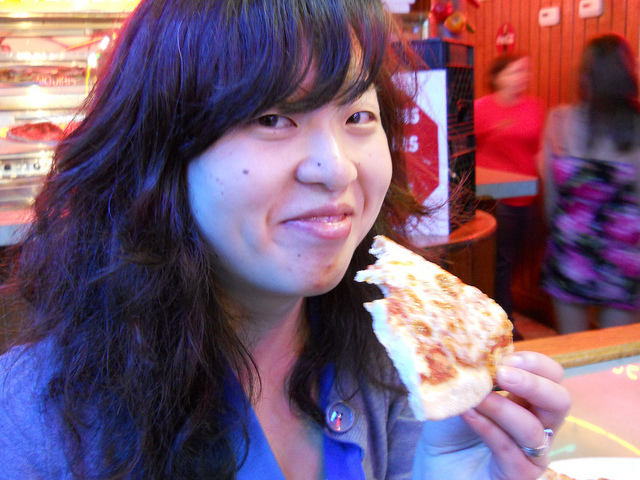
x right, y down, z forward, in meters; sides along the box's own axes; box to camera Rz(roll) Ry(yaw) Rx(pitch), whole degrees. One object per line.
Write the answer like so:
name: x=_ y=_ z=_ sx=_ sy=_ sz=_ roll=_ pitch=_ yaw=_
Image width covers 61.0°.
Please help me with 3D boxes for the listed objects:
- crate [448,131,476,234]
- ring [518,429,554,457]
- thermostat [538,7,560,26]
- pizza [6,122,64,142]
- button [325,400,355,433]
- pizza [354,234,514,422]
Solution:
crate: x=0.647 y=-0.274 z=2.485 sx=0.108 sy=0.493 sz=0.135 roll=5 pitch=13 yaw=21
ring: x=0.477 y=0.447 z=1.185 sx=0.074 sy=0.064 sz=0.025 roll=-4 pitch=12 yaw=-6
thermostat: x=1.998 y=-1.957 z=4.731 sx=0.041 sy=0.140 sz=0.236 roll=-6 pitch=14 yaw=-17
pizza: x=-1.472 y=-0.561 z=2.821 sx=0.298 sy=0.100 sz=0.124 roll=2 pitch=14 yaw=18
button: x=0.050 y=0.440 z=1.347 sx=0.075 sy=0.056 sz=0.050 roll=-4 pitch=13 yaw=-7
pizza: x=0.227 y=0.174 z=1.167 sx=0.327 sy=0.073 sz=0.368 roll=16 pitch=43 yaw=-26
